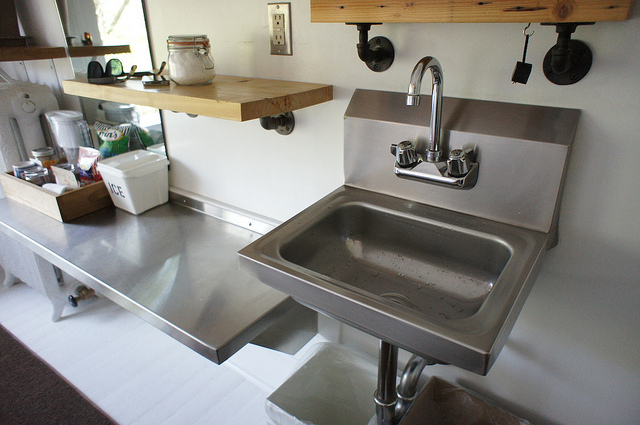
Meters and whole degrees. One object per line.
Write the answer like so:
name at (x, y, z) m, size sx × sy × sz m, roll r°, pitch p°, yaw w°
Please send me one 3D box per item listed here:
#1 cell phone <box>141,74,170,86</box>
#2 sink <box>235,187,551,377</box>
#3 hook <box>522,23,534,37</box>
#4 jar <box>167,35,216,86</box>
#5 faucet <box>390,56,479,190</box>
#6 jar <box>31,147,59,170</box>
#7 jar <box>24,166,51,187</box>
cell phone at (-0.685, -0.555, 1.827) m, size 0.159 × 0.029 × 0.284 m, roll -6°, pitch 21°, yaw -19°
sink at (0.296, 0.187, 1.462) m, size 0.912 × 0.360 × 0.688 m, roll 19°, pitch 35°, yaw 31°
hook at (0.657, -0.580, 1.388) m, size 0.035 × 0.038 × 0.029 m, roll -19°, pitch 34°, yaw -34°
jar at (-0.507, -0.607, 1.755) m, size 0.184 × 0.198 × 0.171 m, roll 1°, pitch 24°, yaw 0°
faucet at (0.407, -0.285, 1.446) m, size 0.276 × 0.430 × 0.103 m, roll 1°, pitch 28°, yaw 0°
jar at (-1.515, -0.307, 2.426) m, size 0.112 × 0.093 × 0.193 m, roll -17°, pitch 32°, yaw -31°
jar at (-1.478, -0.193, 2.290) m, size 0.103 × 0.115 × 0.106 m, roll 4°, pitch 28°, yaw -2°
